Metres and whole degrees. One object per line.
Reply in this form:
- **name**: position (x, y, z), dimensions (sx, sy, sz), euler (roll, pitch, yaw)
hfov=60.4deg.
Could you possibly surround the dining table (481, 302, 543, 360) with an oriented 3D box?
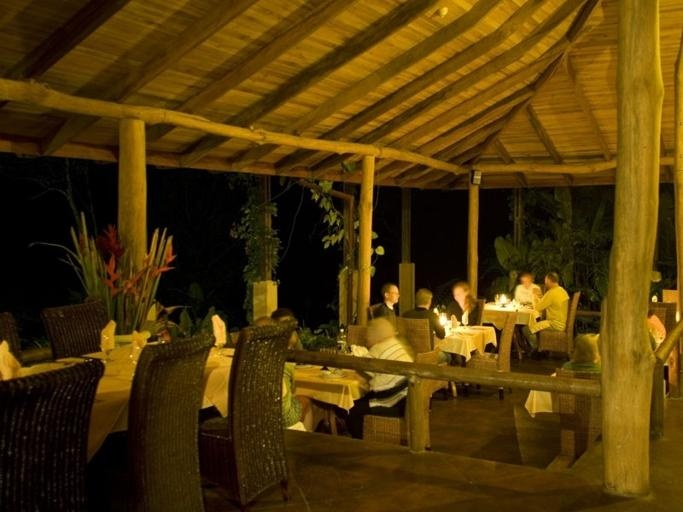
- **dining table**: position (2.956, 1.182, 10.161), dimensions (1.050, 0.866, 1.118), euler (3, 6, 26)

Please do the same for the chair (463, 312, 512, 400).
- **chair**: position (1.943, 1.167, 7.612), dimensions (0.537, 0.807, 0.779), euler (1, 7, 18)

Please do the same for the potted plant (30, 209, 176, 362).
- **potted plant**: position (-1.861, 0.198, 4.904), dimensions (0.756, 1.088, 0.867), euler (7, 13, 13)

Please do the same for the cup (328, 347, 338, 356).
- **cup**: position (-0.081, 0.929, 5.751), dimensions (0.080, 0.122, 0.084), euler (1, 7, 0)

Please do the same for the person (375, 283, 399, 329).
- **person**: position (0.606, 0.577, 7.466), dimensions (0.361, 0.737, 0.651), euler (-1, 3, 0)

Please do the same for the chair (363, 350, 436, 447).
- **chair**: position (0.576, 1.438, 5.447), dimensions (0.425, 0.724, 0.439), euler (7, -5, 26)

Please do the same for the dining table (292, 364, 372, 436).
- **dining table**: position (-0.200, 1.260, 5.615), dimensions (0.752, 0.241, 0.810), euler (16, -7, 40)

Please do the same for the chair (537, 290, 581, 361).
- **chair**: position (3.543, 1.167, 9.612), dimensions (0.549, 1.020, 0.639), euler (2, 7, 24)

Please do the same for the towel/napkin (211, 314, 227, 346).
- **towel/napkin**: position (-0.922, 0.573, 4.411), dimensions (0.097, 0.217, 0.090), euler (-1, 7, 8)
